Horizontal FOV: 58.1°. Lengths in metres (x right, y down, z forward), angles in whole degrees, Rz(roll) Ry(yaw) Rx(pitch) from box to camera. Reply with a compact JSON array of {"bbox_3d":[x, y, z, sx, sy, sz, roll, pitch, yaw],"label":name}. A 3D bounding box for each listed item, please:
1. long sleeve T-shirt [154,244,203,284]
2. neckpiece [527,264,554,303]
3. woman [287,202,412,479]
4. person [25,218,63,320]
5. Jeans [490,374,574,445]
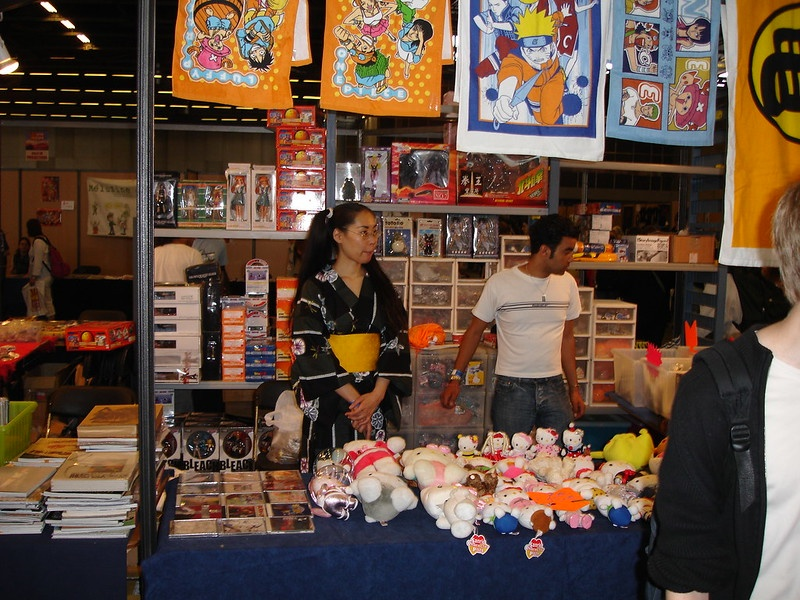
[{"bbox_3d":[-1.582,-0.245,5.090,0.304,0.308,0.176,-1,6,-7],"label":"long sleeve T-shirt"},{"bbox_3d":[0.767,-0.077,3.943,0.100,0.164,0.066,-1,14,4],"label":"neckpiece"},{"bbox_3d":[-0.229,0.417,3.664,0.561,1.788,0.531,1,24,1],"label":"woman"},{"bbox_3d":[-4.431,-0.379,8.866,0.492,1.083,1.065,-9,16,-26],"label":"person"},{"bbox_3d":[0.698,0.582,3.805,0.359,0.509,0.187,-1,3,-8],"label":"Jeans"}]
